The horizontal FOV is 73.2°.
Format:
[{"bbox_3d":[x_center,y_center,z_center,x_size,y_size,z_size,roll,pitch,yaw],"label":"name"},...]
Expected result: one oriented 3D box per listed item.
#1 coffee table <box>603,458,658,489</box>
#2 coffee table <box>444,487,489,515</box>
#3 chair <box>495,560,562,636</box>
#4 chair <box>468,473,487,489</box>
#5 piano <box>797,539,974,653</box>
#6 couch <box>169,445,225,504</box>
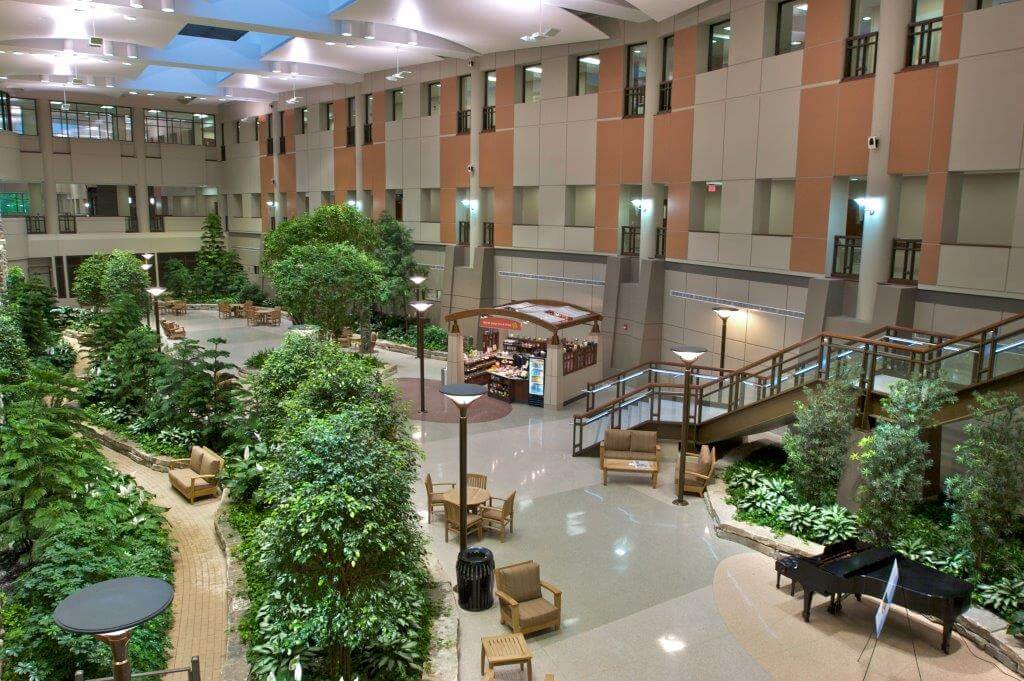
[{"bbox_3d":[3.236,3.550,18.905,1.522,0.604,0.919,1,8,9],"label":"coffee table"},{"bbox_3d":[-1.046,3.727,16.070,1.170,0.251,1.109,1,7,-2],"label":"coffee table"},{"bbox_3d":[0.396,5.011,13.593,1.243,1.189,0.919,-5,10,-26],"label":"chair"},{"bbox_3d":[-0.871,3.495,17.407,0.416,0.627,0.454,0,1,-13],"label":"chair"},{"bbox_3d":[6.857,4.503,13.132,1.825,1.062,2.660,-11,17,-41],"label":"piano"},{"bbox_3d":[-8.250,3.690,18.520,1.329,1.190,1.846,-9,19,-39],"label":"couch"}]
